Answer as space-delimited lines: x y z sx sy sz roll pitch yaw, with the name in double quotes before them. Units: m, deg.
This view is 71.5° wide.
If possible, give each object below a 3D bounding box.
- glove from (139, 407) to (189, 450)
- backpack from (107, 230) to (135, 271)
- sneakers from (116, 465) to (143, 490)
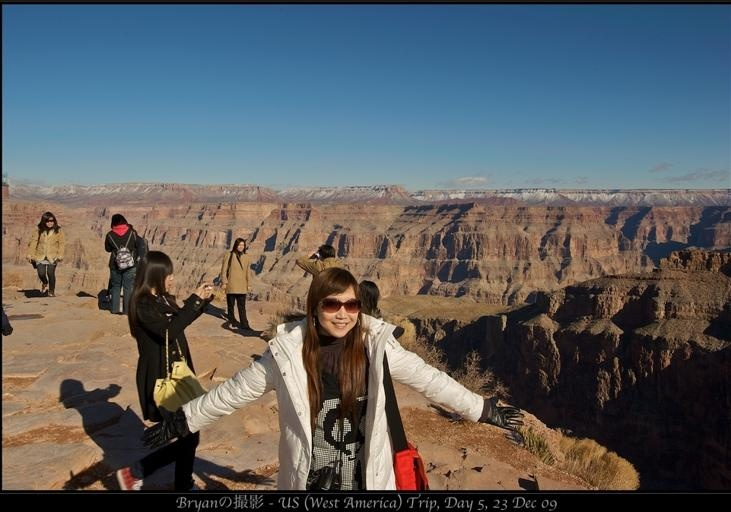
"glove" -1.903 1.724 4.990 0.490 0.376 0.147 -28 -23 -1
"backpack" -4.915 -0.121 10.470 0.474 0.693 0.723 -10 36 -27
"sneakers" -2.283 2.185 4.997 0.272 0.202 0.101 24 -8 3
